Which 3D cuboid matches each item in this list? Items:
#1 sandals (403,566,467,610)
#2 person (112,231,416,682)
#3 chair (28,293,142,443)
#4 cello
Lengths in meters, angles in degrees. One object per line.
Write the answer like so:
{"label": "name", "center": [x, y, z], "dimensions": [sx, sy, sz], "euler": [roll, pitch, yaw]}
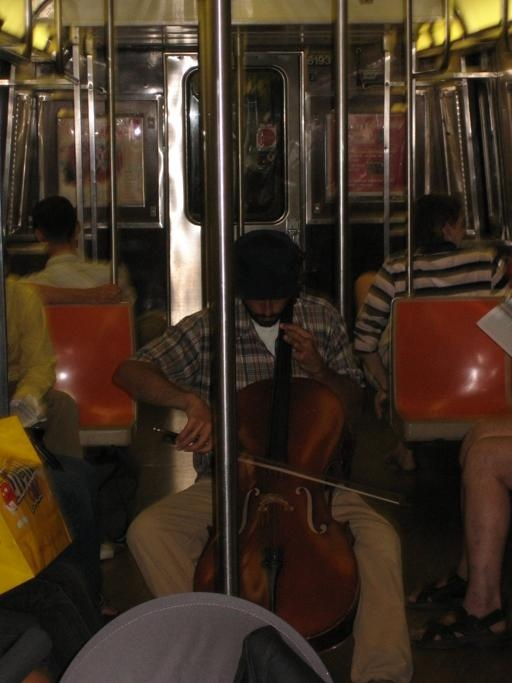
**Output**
{"label": "sandals", "center": [0.413, 0.550, 1.488], "dimensions": [0.172, 0.065, 0.057], "euler": [-4, 13, -15]}
{"label": "person", "center": [0.015, 0.217, 1.355], "dimensions": [0.499, 0.970, 0.300], "euler": [-1, -4, -2]}
{"label": "chair", "center": [-0.329, 0.064, 1.313], "dimensions": [0.171, 0.259, 0.165], "euler": [-3, 13, -19]}
{"label": "cello", "center": [0.058, 0.291, 1.357], "dimensions": [0.296, 0.693, 0.219], "euler": [6, -12, -5]}
